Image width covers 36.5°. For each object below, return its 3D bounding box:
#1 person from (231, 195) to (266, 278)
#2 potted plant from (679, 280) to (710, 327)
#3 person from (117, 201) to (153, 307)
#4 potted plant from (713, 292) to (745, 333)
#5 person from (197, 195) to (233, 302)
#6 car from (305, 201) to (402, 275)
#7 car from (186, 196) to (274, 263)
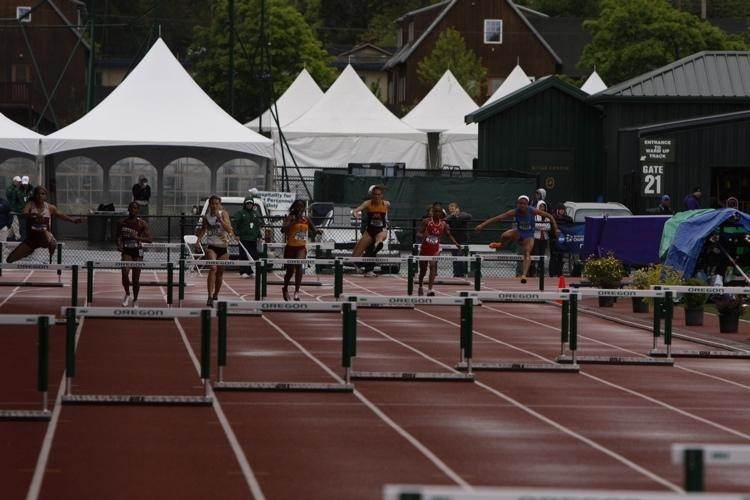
[{"bbox_3d":[-3.640,-0.536,32.609,0.778,2.527,0.965,0,0,-4],"label":"person"},{"bbox_3d":[7.102,1.152,25.372,0.486,1.045,0.531,12,-14,-29],"label":"potted plant"},{"bbox_3d":[-5.458,0.040,25.549,0.841,2.848,0.944,0,-1,-5],"label":"person"},{"bbox_3d":[7.566,1.327,24.372,0.698,0.818,0.648,0,3,-36],"label":"potted plant"},{"bbox_3d":[-3.775,-0.204,25.701,1.021,3.196,1.118,0,-1,-3],"label":"person"},{"bbox_3d":[-0.872,-0.536,36.706,1.635,1.764,2.912,1,-6,-2],"label":"car"},{"bbox_3d":[-5.591,-0.398,36.647,2.042,2.698,5.182,0,0,2],"label":"car"}]
